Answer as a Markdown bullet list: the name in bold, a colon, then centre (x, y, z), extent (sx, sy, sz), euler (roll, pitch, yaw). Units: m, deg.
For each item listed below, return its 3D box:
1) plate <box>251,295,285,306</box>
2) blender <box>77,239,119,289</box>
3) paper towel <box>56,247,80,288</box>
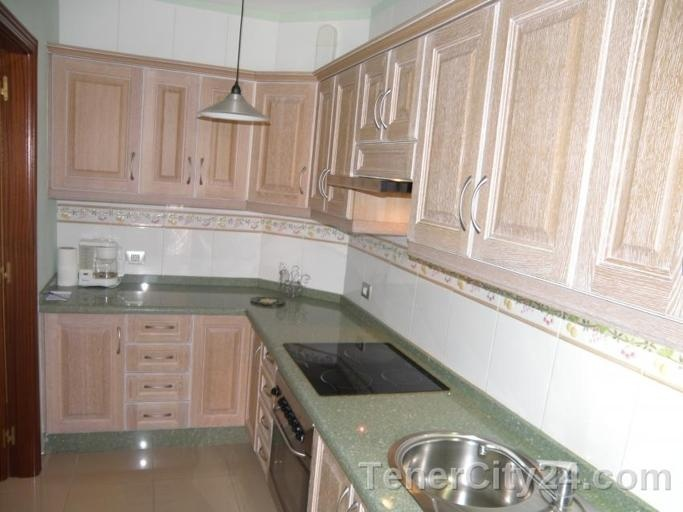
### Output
- **plate**: centre (-0.532, 0.319, 3.541), extent (0.247, 0.043, 0.241), euler (-3, 9, -13)
- **blender**: centre (-1.706, 0.052, 3.548), extent (0.277, 0.317, 0.197), euler (2, 2, -2)
- **paper towel**: centre (-1.874, 0.069, 3.446), extent (0.141, 0.237, 0.140), euler (15, -16, -27)
